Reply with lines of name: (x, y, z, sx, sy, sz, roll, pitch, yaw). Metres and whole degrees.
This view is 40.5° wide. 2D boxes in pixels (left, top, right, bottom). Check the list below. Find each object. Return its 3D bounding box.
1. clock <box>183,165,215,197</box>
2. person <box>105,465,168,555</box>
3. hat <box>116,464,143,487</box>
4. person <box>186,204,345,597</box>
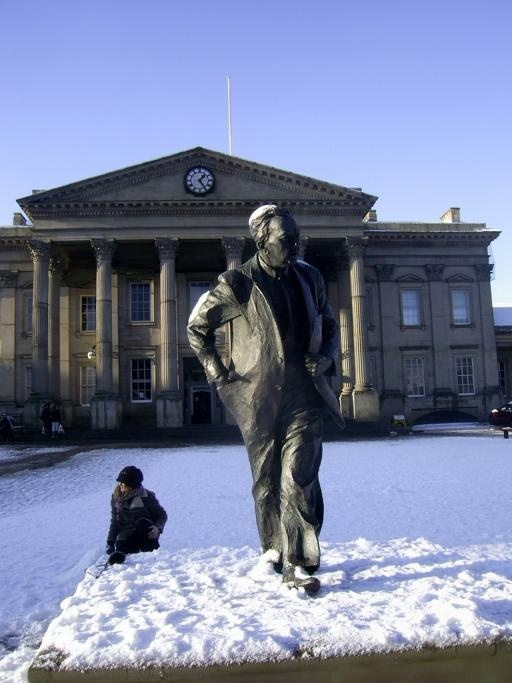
clock: (-2.702, -7.477, 32.179, 1.298, 1.253, 0.135, 13, -3, -1)
person: (-1.038, 1.454, 5.975, 0.504, 0.723, 0.947, 0, -5, -8)
hat: (-1.126, 1.199, 6.179, 0.172, 0.201, 0.234, 9, 11, 29)
person: (0.063, 0.250, 3.947, 0.810, 2.159, 0.788, -1, -5, 7)
